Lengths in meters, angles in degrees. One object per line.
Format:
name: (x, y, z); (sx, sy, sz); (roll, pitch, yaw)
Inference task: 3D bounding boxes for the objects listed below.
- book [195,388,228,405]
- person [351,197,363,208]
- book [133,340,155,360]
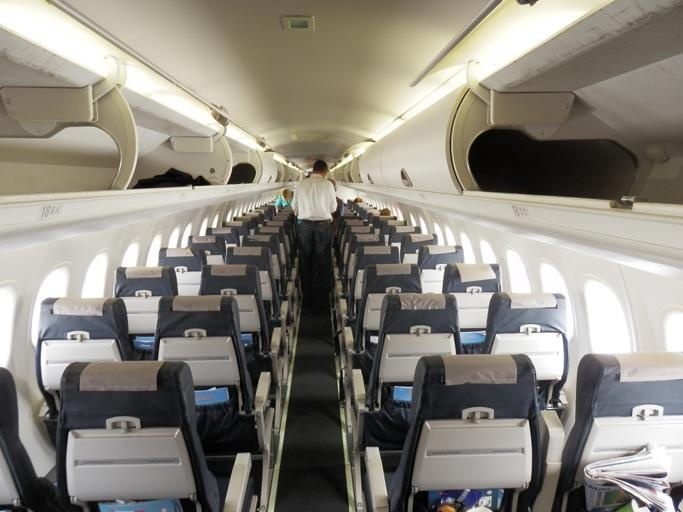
book: (-1.096, 1.175, 4.332); (0.173, 0.112, 0.017); (-2, 12, -6)
person: (0.651, -2.369, 23.016); (0.363, 0.509, 1.290); (-2, 0, 3)
book: (-1.984, 0.933, 5.160); (0.266, 0.259, 0.074); (-7, -16, 5)
